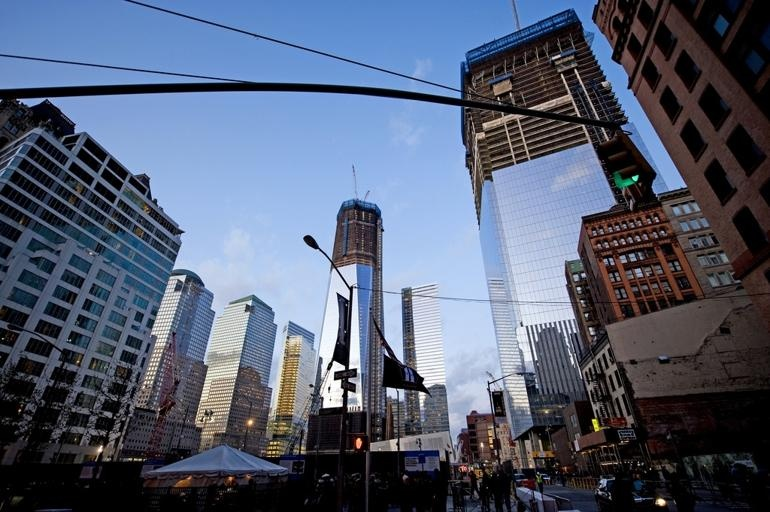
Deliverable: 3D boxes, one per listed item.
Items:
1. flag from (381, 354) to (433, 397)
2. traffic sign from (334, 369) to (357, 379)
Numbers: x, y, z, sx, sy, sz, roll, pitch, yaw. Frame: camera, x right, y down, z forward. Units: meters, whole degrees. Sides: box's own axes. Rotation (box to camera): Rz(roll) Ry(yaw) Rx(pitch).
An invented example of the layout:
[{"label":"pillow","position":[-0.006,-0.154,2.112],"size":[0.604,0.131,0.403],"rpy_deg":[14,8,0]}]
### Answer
[{"label":"flag","position":[1.799,11.358,40.051],"size":[3.415,3.363,5.013],"rpy_deg":[-3,-29,2]},{"label":"traffic sign","position":[-3.200,10.171,35.719],"size":[1.829,0.900,1.392],"rpy_deg":[-1,-29,-1]}]
